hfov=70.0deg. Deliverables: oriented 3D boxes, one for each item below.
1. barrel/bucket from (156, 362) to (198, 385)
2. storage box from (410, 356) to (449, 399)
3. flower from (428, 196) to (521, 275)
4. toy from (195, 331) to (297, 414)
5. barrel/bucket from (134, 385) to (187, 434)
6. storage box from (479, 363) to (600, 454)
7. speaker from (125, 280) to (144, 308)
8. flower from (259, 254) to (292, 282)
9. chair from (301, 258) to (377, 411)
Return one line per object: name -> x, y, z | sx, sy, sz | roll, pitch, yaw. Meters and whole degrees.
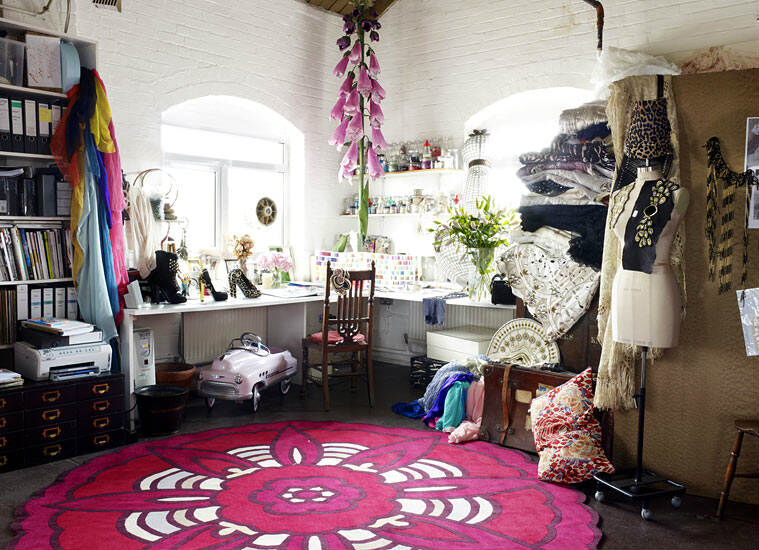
barrel/bucket -> -2.023, 1.003, 5.396 | 0.348, 0.204, 0.570 | -2, 8, -24
storage box -> 0.505, 1.095, 6.089 | 0.344, 0.451, 0.453 | -3, 4, -35
flower -> 1.046, -0.444, 6.007 | 0.827, 0.843, 0.733 | 6, 9, 34
toy -> -1.332, 1.016, 5.686 | 0.588, 0.593, 1.037 | 1, 1, 20
barrel/bucket -> -1.911, 1.197, 4.896 | 0.393, 0.317, 0.430 | 2, -2, 0
storage box -> 1.396, 0.950, 4.774 | 0.693, 0.747, 0.995 | -1, 1, -41
speaker -> -2.152, 0.172, 4.771 | 0.132, 0.255, 0.178 | -9, 17, -30
flower -> -1.166, -0.079, 6.402 | 0.384, 0.388, 0.336 | 4, 14, 15
chair -> -0.463, 0.553, 5.960 | 0.792, 1.488, 1.366 | 0, 7, -3
